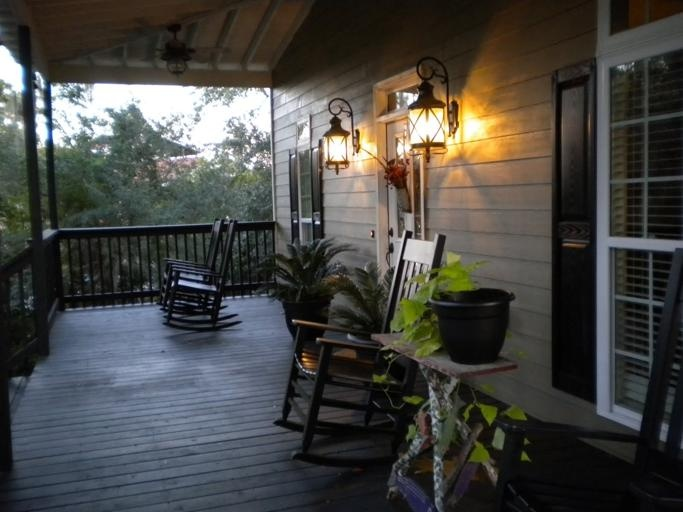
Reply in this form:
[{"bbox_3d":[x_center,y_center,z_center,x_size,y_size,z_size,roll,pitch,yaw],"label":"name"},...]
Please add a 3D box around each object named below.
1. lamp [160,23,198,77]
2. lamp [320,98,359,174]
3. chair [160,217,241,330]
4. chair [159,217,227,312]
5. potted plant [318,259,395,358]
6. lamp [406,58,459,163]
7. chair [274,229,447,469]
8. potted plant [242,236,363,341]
[{"bbox_3d":[-2.125,-2.681,5.993,0.392,0.724,1.118,-2,7,-21],"label":"lamp"},{"bbox_3d":[-0.045,-1.452,5.389,0.402,0.937,0.784,-1,6,-14],"label":"lamp"},{"bbox_3d":[-1.819,0.192,5.872,1.089,1.248,1.109,6,6,10],"label":"chair"},{"bbox_3d":[-1.896,0.149,5.897,0.840,1.197,0.784,3,8,-11],"label":"chair"},{"bbox_3d":[0.279,0.541,4.180,0.766,0.717,0.733,7,8,-28],"label":"potted plant"},{"bbox_3d":[0.715,-1.212,3.683,0.395,0.746,0.289,-7,11,-13],"label":"lamp"},{"bbox_3d":[0.095,0.556,2.982,1.076,1.401,1.050,2,3,23],"label":"chair"},{"bbox_3d":[-0.410,0.350,5.200,1.099,0.968,1.108,0,0,10],"label":"potted plant"}]
